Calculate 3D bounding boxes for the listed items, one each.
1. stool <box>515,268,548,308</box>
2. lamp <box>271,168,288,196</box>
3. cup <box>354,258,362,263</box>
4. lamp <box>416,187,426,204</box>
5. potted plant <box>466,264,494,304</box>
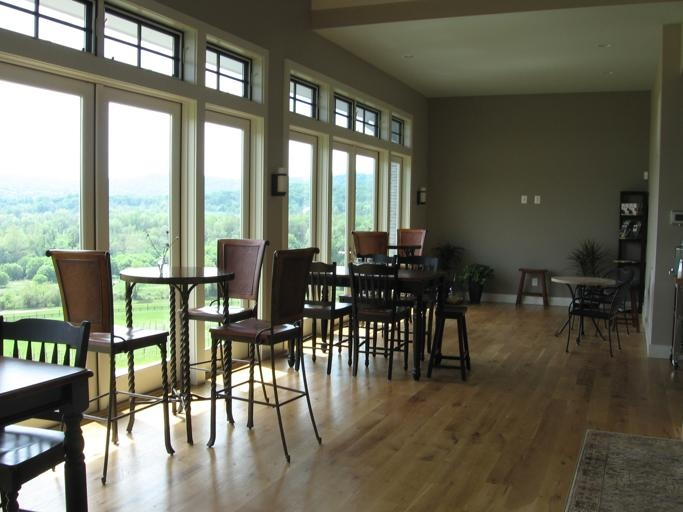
[{"bbox_3d":[3.701,0.593,9.999,0.625,0.975,0.670,3,10,24],"label":"stool"},{"bbox_3d":[-0.705,-0.864,6.051,0.145,0.337,0.249,0,2,21],"label":"lamp"},{"bbox_3d":[0.209,0.058,6.583,0.077,0.060,0.044,-3,-8,32],"label":"cup"},{"bbox_3d":[1.538,-1.185,10.003,0.159,0.329,0.326,1,4,25],"label":"lamp"},{"bbox_3d":[2.606,0.543,10.162,0.645,0.830,0.655,0,4,-5],"label":"potted plant"}]
